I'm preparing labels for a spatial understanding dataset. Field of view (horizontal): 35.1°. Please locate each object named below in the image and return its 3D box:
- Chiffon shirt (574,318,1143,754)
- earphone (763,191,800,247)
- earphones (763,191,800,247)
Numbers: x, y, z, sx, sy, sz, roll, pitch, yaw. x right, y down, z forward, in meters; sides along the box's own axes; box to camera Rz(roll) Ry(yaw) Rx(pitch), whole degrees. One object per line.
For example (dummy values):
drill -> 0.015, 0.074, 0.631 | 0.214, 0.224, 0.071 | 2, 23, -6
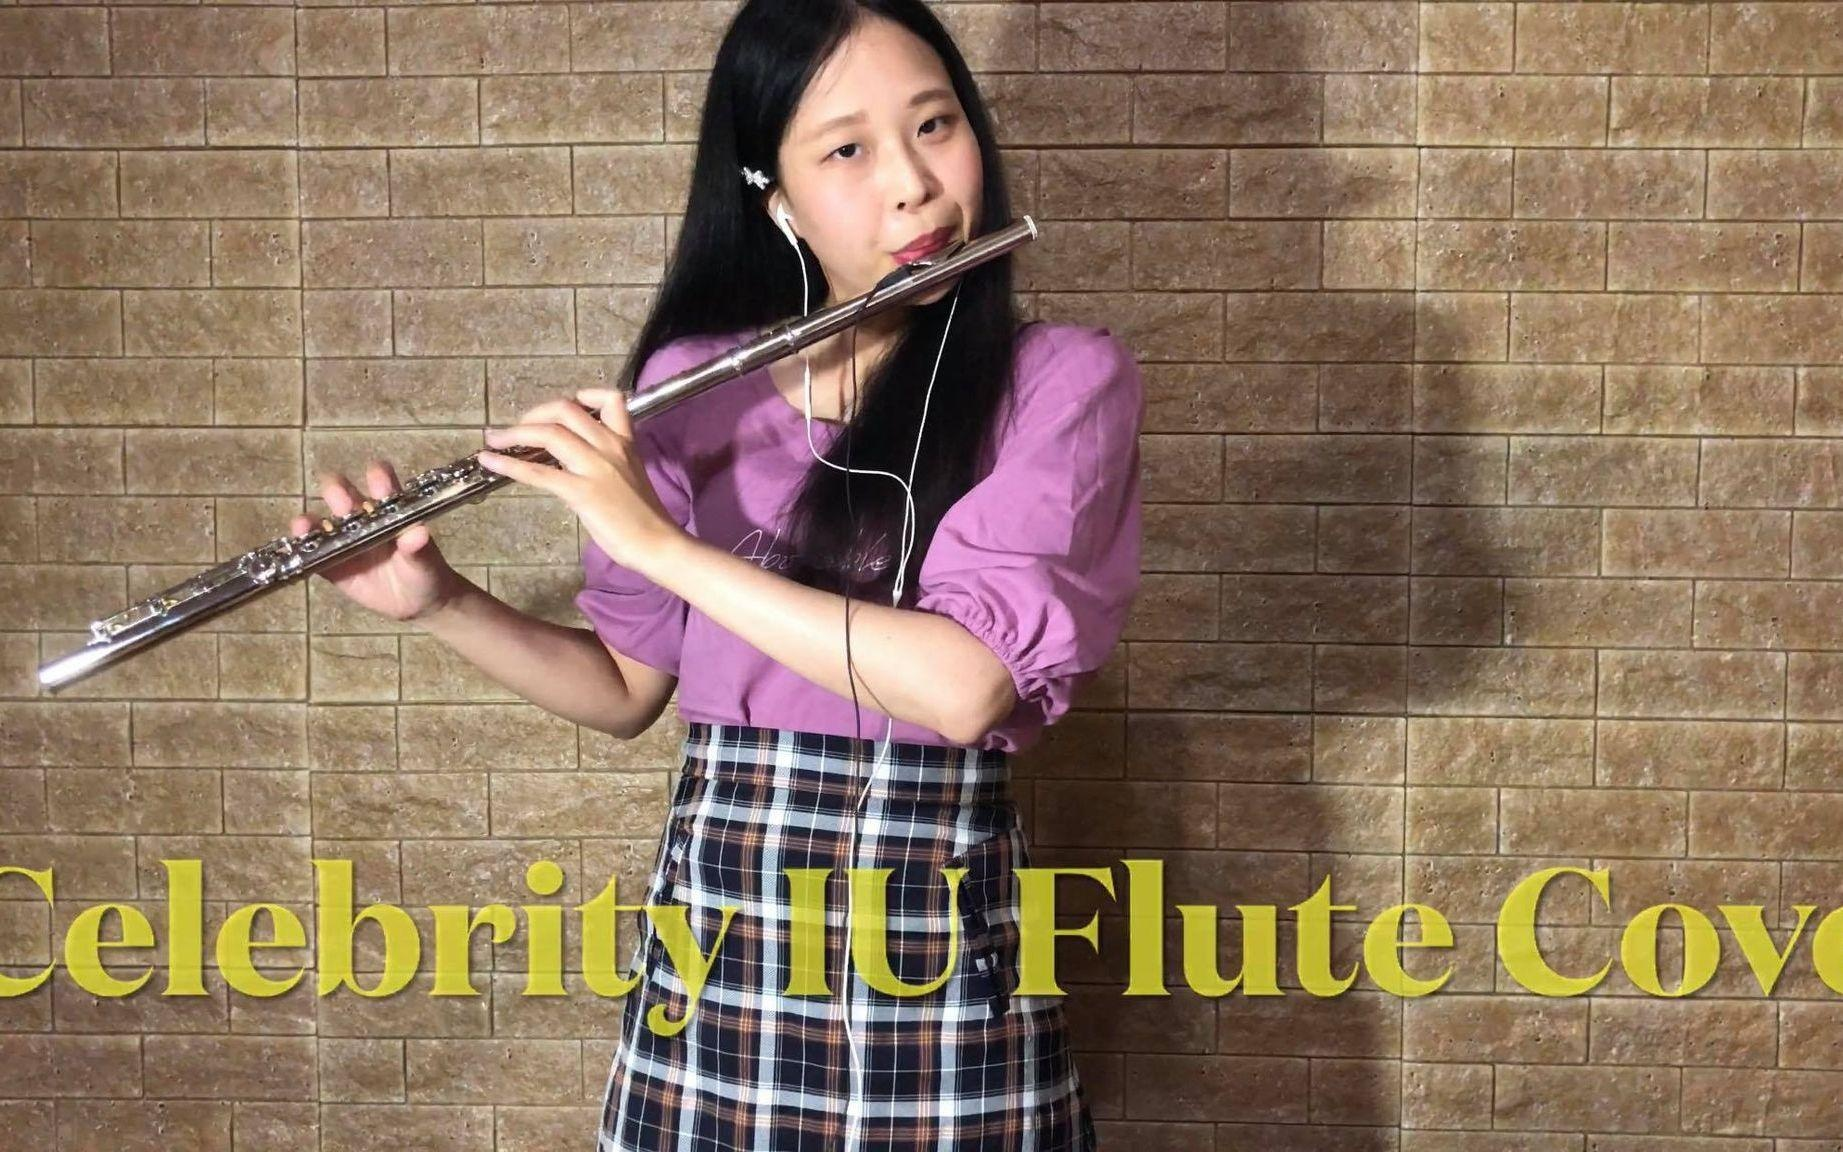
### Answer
Chiffon shirt -> -0.105, -0.067, 4.789 | 0.910, 0.401, 0.693 | 3, 80, 1
earphone -> -0.233, -0.590, 4.846 | 0.021, 0.064, 0.084 | -38, 83, -16
earphones -> -0.232, -0.590, 4.847 | 0.021, 0.064, 0.084 | -38, 83, -16
